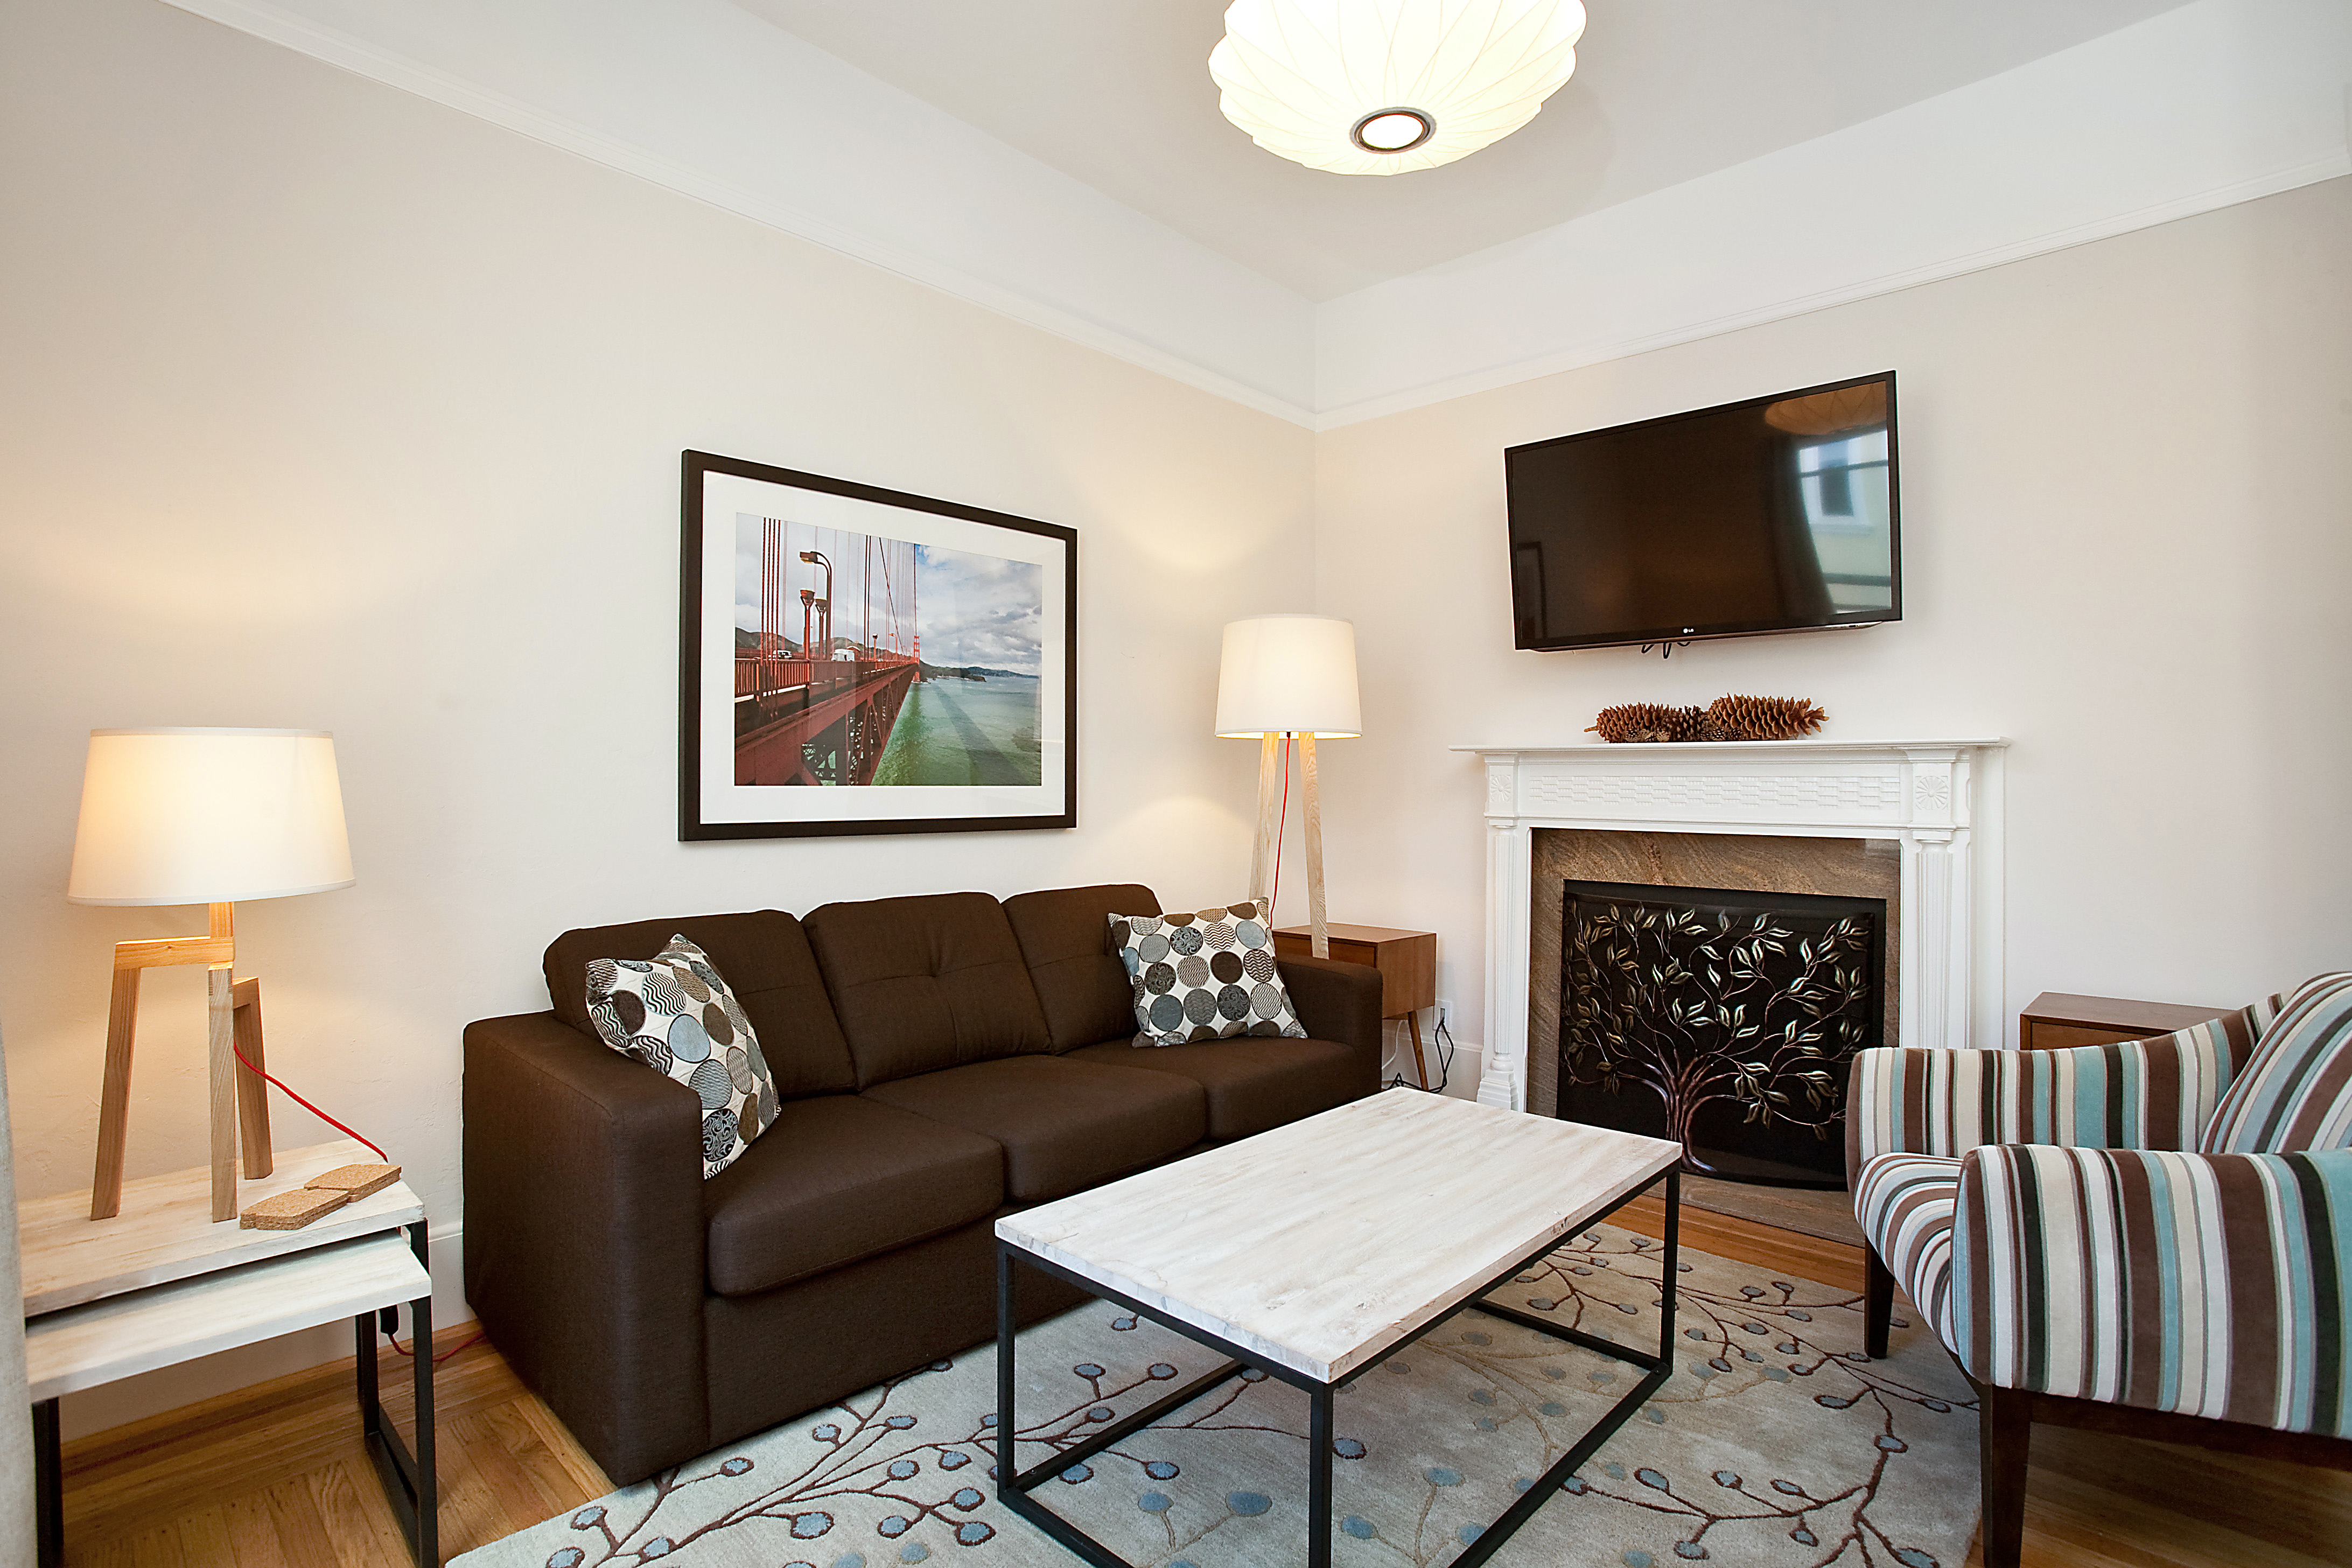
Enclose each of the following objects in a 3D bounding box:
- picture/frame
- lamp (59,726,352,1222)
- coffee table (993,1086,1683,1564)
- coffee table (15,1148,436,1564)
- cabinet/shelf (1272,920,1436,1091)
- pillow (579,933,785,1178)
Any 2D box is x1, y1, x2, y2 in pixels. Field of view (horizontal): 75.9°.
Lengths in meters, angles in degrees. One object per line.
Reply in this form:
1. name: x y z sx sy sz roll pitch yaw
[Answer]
1. picture/frame: -0.893 -0.394 4.821 0.039 1.066 1.543 3 2 39
2. lamp: -2.243 0.461 3.471 0.556 1.088 0.540 3 -2 -41
3. coffee table: 0.387 1.291 3.659 1.538 0.775 0.989 -3 2 -42
4. coffee table: -2.085 1.107 3.411 0.818 0.796 0.861 -2 5 -32
5. cabinet/shelf: 0.693 0.853 5.658 0.380 0.608 0.529 1 1 33
6. pillow: -1.292 0.544 3.979 0.300 0.515 0.572 -10 25 -4
